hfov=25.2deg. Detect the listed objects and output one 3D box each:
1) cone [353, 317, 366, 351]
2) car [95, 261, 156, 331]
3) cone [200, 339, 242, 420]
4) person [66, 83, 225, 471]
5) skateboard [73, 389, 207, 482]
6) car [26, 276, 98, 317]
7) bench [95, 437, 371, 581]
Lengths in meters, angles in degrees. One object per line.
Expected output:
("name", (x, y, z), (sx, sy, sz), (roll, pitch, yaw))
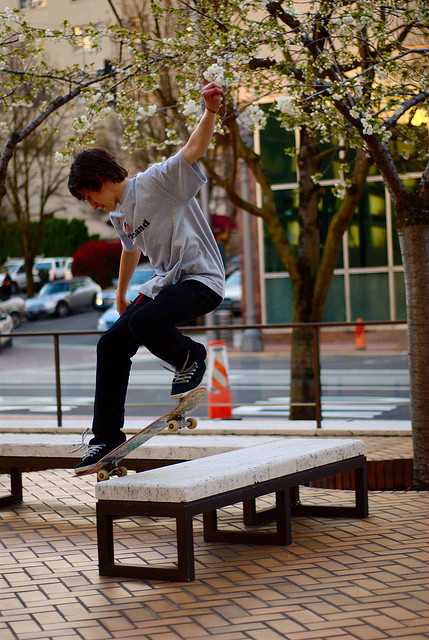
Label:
("cone", (1.411, 0.155, 9.326), (0.110, 0.293, 0.166), (-3, 4, -5))
("car", (-2.164, -0.579, 23.527), (1.589, 1.286, 3.329), (-3, -2, 13))
("cone", (0.040, 0.699, 11.176), (0.548, 0.896, 0.531), (-2, -4, -5))
("person", (-0.259, -0.179, 5.089), (1.012, 1.949, 0.517), (-1, 5, 30))
("skateboard", (-0.495, 0.779, 6.500), (1.182, 0.171, 0.319), (-34, -27, 8))
("car", (-5.092, -0.806, 31.938), (1.221, 0.826, 2.605), (-5, 2, 31))
("bench", (0.109, 1.056, 5.731), (1.195, 0.647, 2.093), (0, 4, 33))
